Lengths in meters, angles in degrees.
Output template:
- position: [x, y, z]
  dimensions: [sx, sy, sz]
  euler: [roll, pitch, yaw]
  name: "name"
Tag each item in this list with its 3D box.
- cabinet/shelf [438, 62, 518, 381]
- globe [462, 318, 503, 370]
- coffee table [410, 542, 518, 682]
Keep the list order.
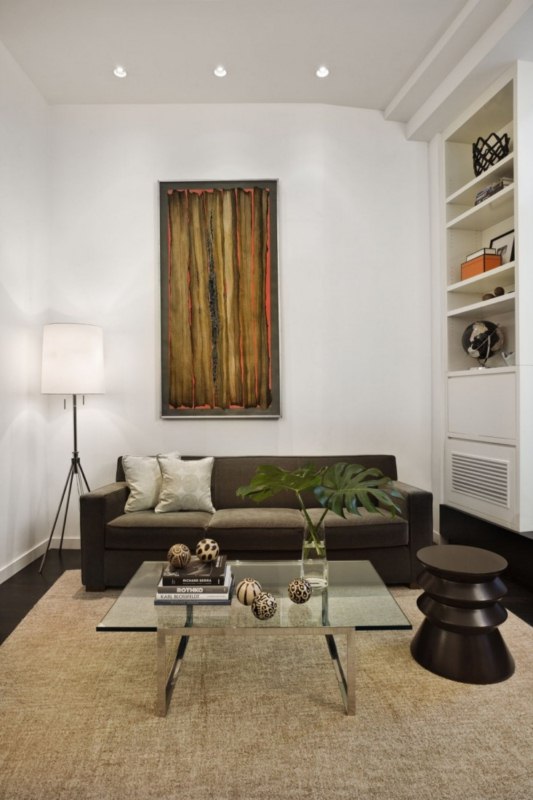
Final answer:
- position: [1.404, -0.988, 3.556]
  dimensions: [0.333, 1.595, 0.848]
  euler: [-1, 2, -10]
  name: "cabinet/shelf"
- position: [1.372, -0.378, 3.749]
  dimensions: [0.238, 0.327, 0.282]
  euler: [10, 17, 32]
  name: "globe"
- position: [0.721, 0.819, 2.264]
  dimensions: [0.330, 0.419, 0.405]
  euler: [-1, 0, 1]
  name: "coffee table"
